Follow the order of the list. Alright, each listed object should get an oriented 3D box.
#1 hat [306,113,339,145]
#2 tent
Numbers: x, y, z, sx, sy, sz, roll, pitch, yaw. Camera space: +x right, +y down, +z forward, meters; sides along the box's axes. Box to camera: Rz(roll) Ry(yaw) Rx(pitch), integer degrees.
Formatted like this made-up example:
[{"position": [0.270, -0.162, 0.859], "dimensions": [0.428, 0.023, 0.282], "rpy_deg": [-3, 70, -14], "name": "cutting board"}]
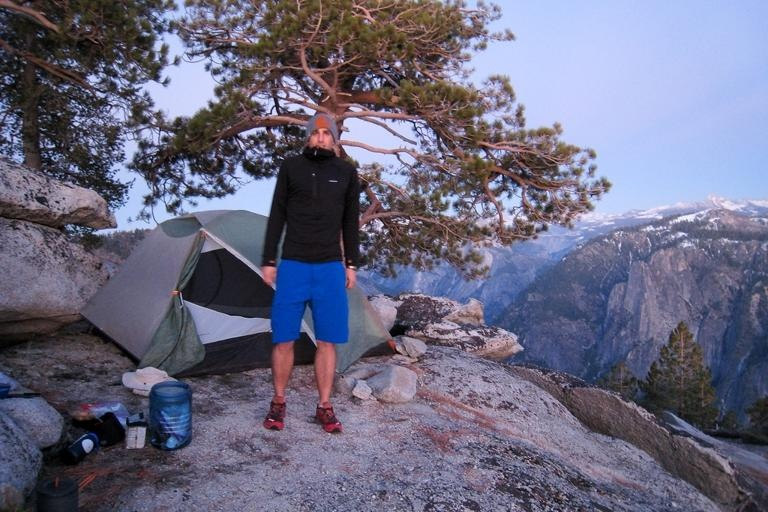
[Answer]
[{"position": [-1.076, -2.222, 9.794], "dimensions": [0.540, 0.526, 0.557], "rpy_deg": [1, 1, -4], "name": "hat"}, {"position": [-3.554, 0.867, 12.157], "dimensions": [3.520, 1.642, 3.457], "rpy_deg": [-4, 28, -8], "name": "tent"}]
